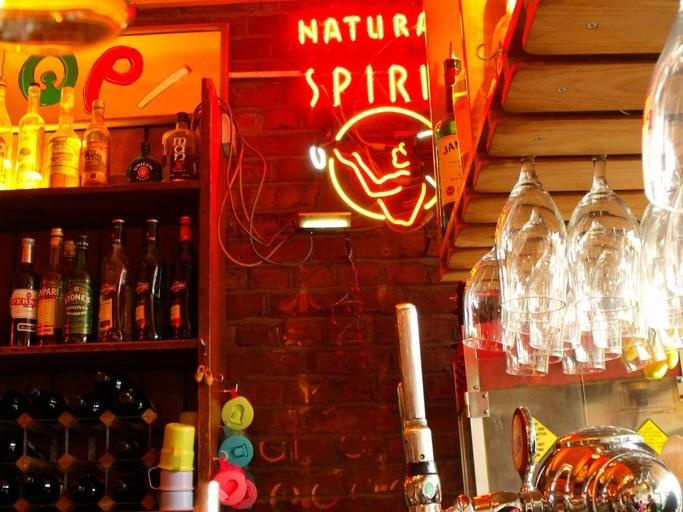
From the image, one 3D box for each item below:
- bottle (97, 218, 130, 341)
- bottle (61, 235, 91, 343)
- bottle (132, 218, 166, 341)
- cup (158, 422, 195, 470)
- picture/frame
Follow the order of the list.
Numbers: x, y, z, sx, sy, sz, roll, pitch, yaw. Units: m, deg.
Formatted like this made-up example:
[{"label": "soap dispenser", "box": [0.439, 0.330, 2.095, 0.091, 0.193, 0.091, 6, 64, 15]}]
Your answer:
[{"label": "bottle", "box": [-0.659, 0.081, 2.076, 0.080, 0.364, 0.189, 5, -16, -24]}, {"label": "bottle", "box": [-0.769, 0.107, 2.094, 0.086, 0.326, 0.205, 4, -16, -19]}, {"label": "bottle", "box": [-0.547, 0.068, 2.037, 0.081, 0.354, 0.087, -1, -15, 0]}, {"label": "cup", "box": [-0.422, 0.498, 1.839, 0.095, 0.110, 0.110, 3, -19, -4]}, {"label": "picture/frame", "box": [-0.683, -0.505, 2.127, 0.546, 0.219, 0.022, -2, -23, -3]}]
